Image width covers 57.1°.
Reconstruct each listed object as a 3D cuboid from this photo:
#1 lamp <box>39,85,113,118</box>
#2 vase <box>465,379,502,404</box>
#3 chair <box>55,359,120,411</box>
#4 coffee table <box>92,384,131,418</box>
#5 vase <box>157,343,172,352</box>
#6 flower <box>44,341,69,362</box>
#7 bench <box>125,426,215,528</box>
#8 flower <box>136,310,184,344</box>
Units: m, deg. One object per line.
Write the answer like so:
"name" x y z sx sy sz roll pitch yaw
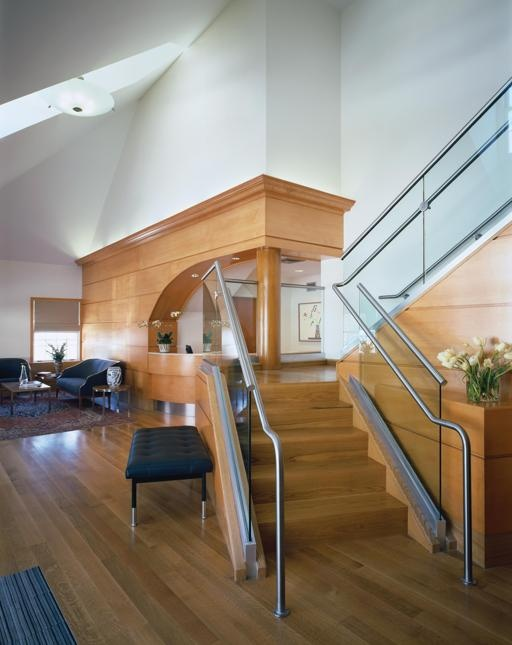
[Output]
"lamp" -2.234 -2.854 5.931 0.682 0.181 0.775 0 -1 5
"vase" 1.408 0.421 2.889 0.143 0.108 0.145 0 -4 0
"chair" -3.081 1.072 8.622 0.727 0.765 1.386 6 -3 -39
"coffee table" -2.526 1.317 8.194 0.676 0.501 0.622 4 -4 -44
"vase" -1.445 0.394 7.483 0.156 0.109 0.155 0 -1 -20
"flower" -4.318 0.623 10.212 0.496 0.514 0.446 0 1 -34
"bench" -0.692 1.134 3.706 0.605 0.410 1.114 0 2 -10
"flower" -1.483 0.095 7.887 0.640 0.586 0.562 4 6 41
